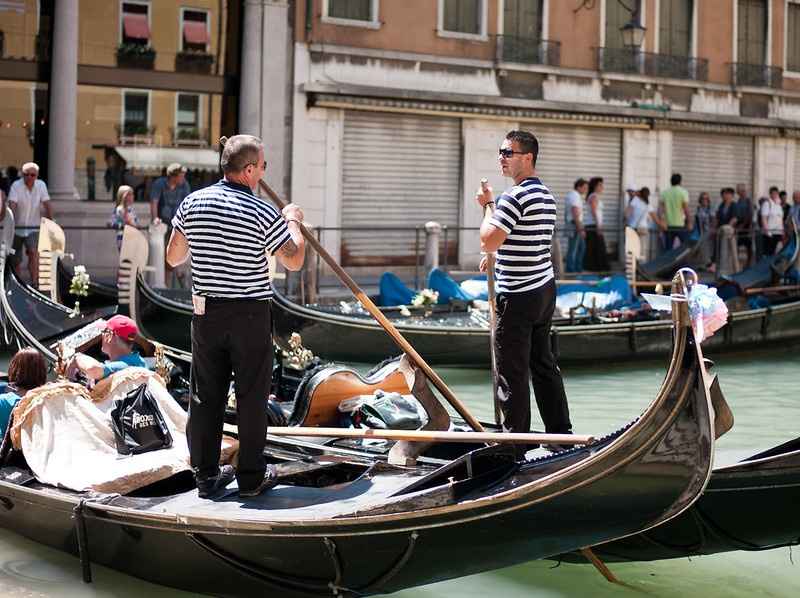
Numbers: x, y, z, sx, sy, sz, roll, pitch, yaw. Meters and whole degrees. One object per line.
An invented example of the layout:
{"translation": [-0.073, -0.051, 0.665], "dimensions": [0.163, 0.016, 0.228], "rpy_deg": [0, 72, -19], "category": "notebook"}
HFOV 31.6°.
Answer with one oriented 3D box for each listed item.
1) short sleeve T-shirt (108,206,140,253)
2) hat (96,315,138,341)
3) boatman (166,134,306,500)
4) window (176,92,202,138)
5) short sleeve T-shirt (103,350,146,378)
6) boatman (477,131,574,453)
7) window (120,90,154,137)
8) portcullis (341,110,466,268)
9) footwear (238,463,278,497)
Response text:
{"translation": [-3.422, -0.881, 17.573], "dimensions": [0.288, 0.593, 0.446], "rpy_deg": [11, 14, 17], "category": "short sleeve T-shirt"}
{"translation": [-2.428, 0.222, 12.353], "dimensions": [0.256, 0.140, 0.185], "rpy_deg": [16, 18, 24], "category": "hat"}
{"translation": [-1.371, 0.099, 11.701], "dimensions": [1.091, 2.988, 0.947], "rpy_deg": [3, 16, 4], "category": "boatman"}
{"translation": [-3.219, -2.630, 21.327], "dimensions": [0.473, 0.677, 0.887], "rpy_deg": [0, 8, -10], "category": "window"}
{"translation": [-2.384, 0.550, 12.267], "dimensions": [0.235, 0.100, 0.250], "rpy_deg": [-2, 16, 22], "category": "short sleeve T-shirt"}
{"translation": [0.987, -0.049, 12.278], "dimensions": [0.859, 2.740, 0.833], "rpy_deg": [2, 4, 39], "category": "boatman"}
{"translation": [-3.815, -2.623, 20.539], "dimensions": [0.455, 0.866, 0.095], "rpy_deg": [2, -34, -11], "category": "window"}
{"translation": [-0.024, -1.696, 21.619], "dimensions": [2.476, 2.978, 0.129], "rpy_deg": [-1, 3, -32], "category": "portcullis"}
{"translation": [-1.164, 1.489, 11.474], "dimensions": [0.138, 0.198, 0.426], "rpy_deg": [12, 24, 30], "category": "footwear"}
